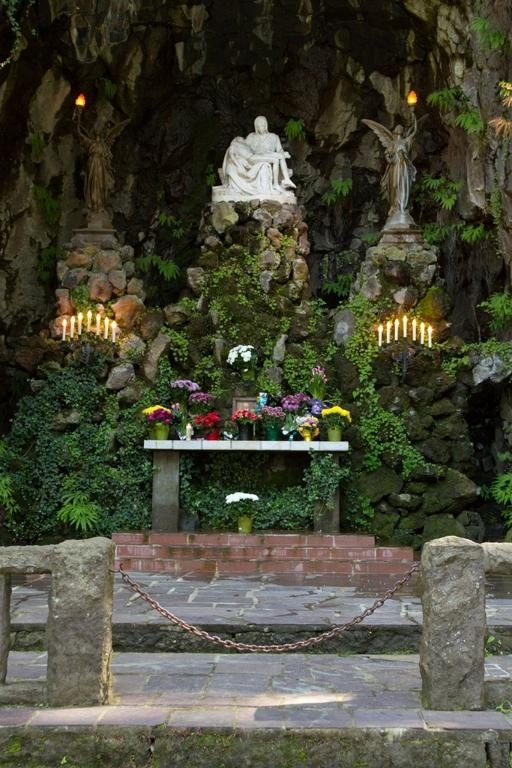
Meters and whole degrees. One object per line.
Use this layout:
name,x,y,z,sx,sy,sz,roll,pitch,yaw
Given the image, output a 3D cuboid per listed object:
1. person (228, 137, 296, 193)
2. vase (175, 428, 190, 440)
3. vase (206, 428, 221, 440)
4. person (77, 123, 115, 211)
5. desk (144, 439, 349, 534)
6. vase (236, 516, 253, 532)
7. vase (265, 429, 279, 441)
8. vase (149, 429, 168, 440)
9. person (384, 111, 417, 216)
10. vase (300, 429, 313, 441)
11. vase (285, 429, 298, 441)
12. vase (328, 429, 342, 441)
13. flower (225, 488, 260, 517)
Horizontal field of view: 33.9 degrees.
person,0.023,-3.211,12.194,1.027,0.791,0.703,-5,4,-32
vase,-0.875,0.606,10.143,0.108,0.111,0.114,-2,-31,3
vase,-0.528,0.595,10.204,0.150,0.129,0.274,-2,-3,14
person,-2.174,-2.948,11.451,0.591,1.137,0.303,-4,17,-23
desk,-0.112,1.250,10.014,2.339,1.050,0.634,1,-21,-12
vase,-0.115,1.564,9.387,0.179,0.127,0.160,-1,-7,4
vase,0.201,0.599,10.006,0.153,0.106,0.140,-1,-2,5
vase,-1.120,0.584,9.856,0.153,0.097,0.145,1,-10,-9
person,2.007,-2.931,11.464,0.440,1.353,0.477,-2,-4,8
vase,0.605,0.588,9.861,0.148,0.106,0.134,1,3,-1
vase,0.439,0.597,10.034,0.145,0.091,0.120,1,-2,-1
vase,0.936,0.591,9.816,0.154,0.103,0.146,1,-1,-2
flower,-0.141,1.355,9.514,0.382,0.265,0.392,-1,-3,-1
